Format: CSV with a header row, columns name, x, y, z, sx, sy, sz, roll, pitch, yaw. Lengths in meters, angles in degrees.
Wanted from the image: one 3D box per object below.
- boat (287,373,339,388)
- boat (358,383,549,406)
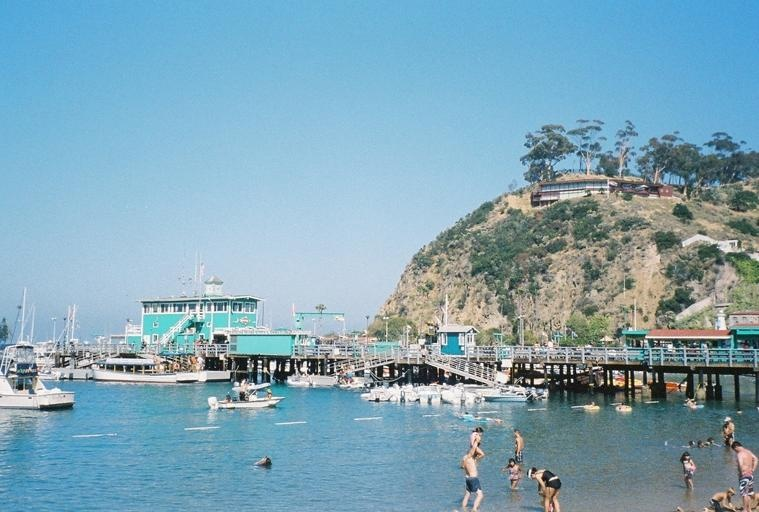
name,x,y,z,sx,sy,sz,roll,pitch,yaw
boat,-9.747,17.850,154.983,6.947,1.706,2.552,-2,-6,13
boat,9.283,17.374,136.702,21.467,2.686,4.602,-1,-10,4
